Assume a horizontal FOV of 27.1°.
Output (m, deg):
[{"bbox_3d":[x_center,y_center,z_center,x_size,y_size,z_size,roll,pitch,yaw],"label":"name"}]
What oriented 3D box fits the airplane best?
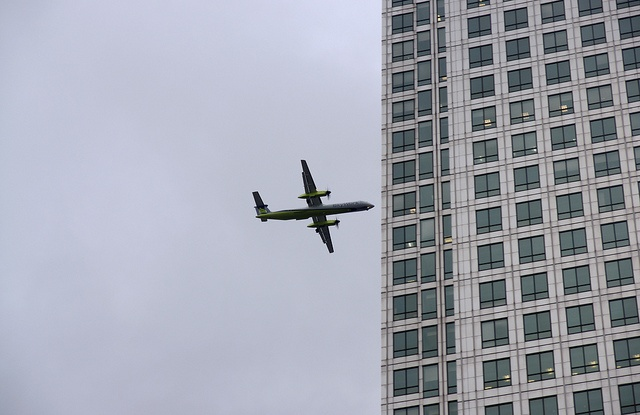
[{"bbox_3d":[-0.883,-0.093,178.298,16.307,3.788,14.409,-6,-57,11],"label":"airplane"}]
